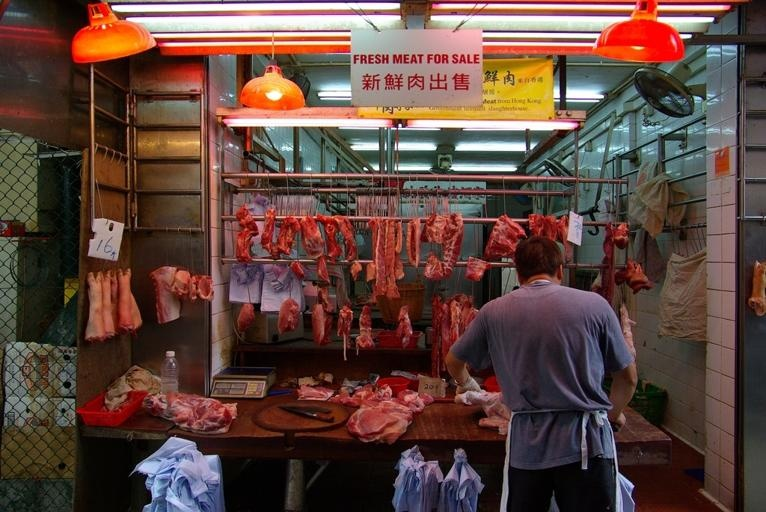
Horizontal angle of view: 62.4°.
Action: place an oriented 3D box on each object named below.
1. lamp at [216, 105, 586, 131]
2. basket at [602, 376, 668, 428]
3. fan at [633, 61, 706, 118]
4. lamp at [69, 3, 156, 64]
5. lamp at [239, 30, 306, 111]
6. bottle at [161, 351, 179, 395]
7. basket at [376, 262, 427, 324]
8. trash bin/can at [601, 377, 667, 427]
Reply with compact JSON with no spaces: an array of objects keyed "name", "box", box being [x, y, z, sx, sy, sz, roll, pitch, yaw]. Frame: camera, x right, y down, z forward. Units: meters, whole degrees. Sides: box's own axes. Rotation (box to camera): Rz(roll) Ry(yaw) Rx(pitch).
[{"name":"lamp","box":[0.088,-1.322,6.094,3.402,0.173,0.350,1,2,-1]},{"name":"basket","box":[3.237,1.807,7.846,0.612,0.389,0.937,0,-17,7]},{"name":"fan","box":[3.215,-1.851,6.915,0.897,0.649,0.554,0,2,-36]},{"name":"lamp","box":[-2.161,-1.679,5.029,0.508,0.346,0.511,-8,27,2]},{"name":"lamp","box":[-0.931,-1.614,5.550,0.613,0.684,0.632,-1,-5,1]},{"name":"bottle","box":[-1.992,1.069,5.843,0.153,0.418,0.329,0,2,-16]},{"name":"basket","box":[0.195,0.393,6.528,0.532,0.489,0.541,0,-11,1]},{"name":"trash bin/can","box":[3.244,1.783,7.859,0.613,0.386,0.929,0,-16,6]}]
